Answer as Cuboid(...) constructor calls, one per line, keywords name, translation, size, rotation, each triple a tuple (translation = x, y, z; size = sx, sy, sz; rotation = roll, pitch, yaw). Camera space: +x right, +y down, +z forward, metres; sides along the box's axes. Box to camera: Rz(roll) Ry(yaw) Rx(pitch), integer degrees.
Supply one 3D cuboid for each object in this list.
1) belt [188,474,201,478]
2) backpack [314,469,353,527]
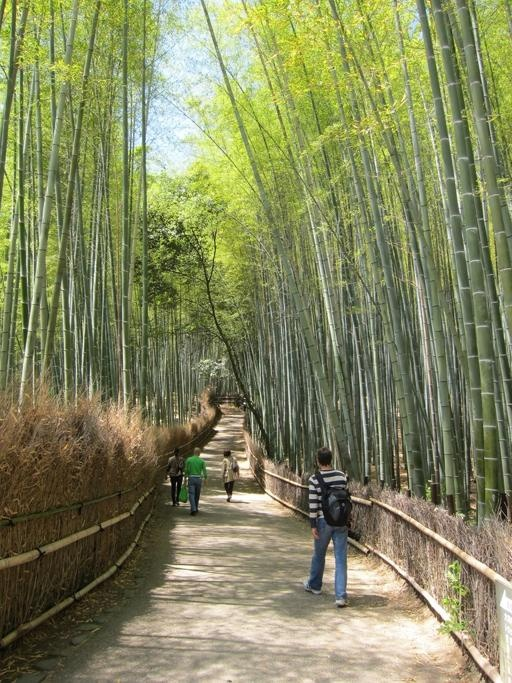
Cuboid(name="belt", translation=(-0.738, 1.587, 7.374), size=(0.141, 0.041, 0.071), rotation=(3, -9, -10))
Cuboid(name="backpack", translation=(0.423, 0.872, 3.421), size=(0.177, 0.287, 0.295), rotation=(3, -9, -2))
